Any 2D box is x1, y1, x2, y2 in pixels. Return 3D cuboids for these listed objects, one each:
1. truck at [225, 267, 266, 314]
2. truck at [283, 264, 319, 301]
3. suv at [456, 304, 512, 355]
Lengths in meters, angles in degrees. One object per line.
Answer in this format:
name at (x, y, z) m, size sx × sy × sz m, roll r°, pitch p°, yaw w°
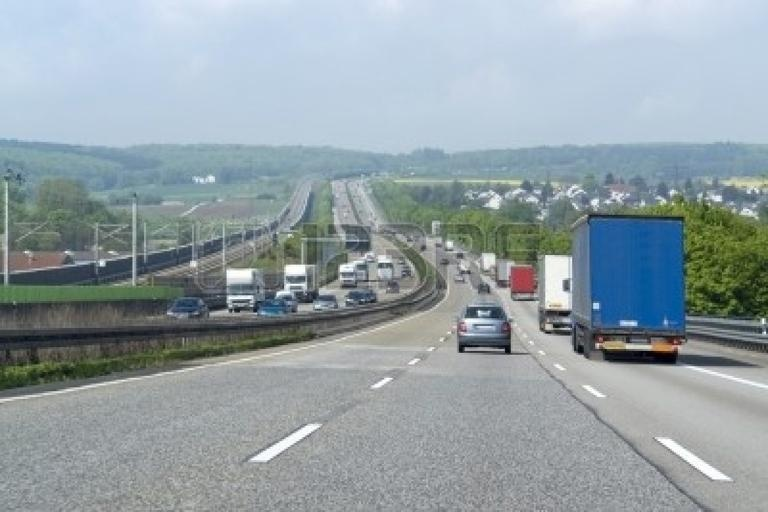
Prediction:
truck at (-11.125, 2.657, 68.433) m, size 1.992 × 3.395 × 3.442 m, roll -1°, pitch 2°, yaw 7°
truck at (-8.423, 2.663, 86.957) m, size 1.804 × 2.611 × 4.895 m, roll 0°, pitch -3°, yaw 3°
suv at (3.734, 2.797, 32.829) m, size 2.122 × 1.900 × 5.060 m, roll 0°, pitch -4°, yaw 3°
